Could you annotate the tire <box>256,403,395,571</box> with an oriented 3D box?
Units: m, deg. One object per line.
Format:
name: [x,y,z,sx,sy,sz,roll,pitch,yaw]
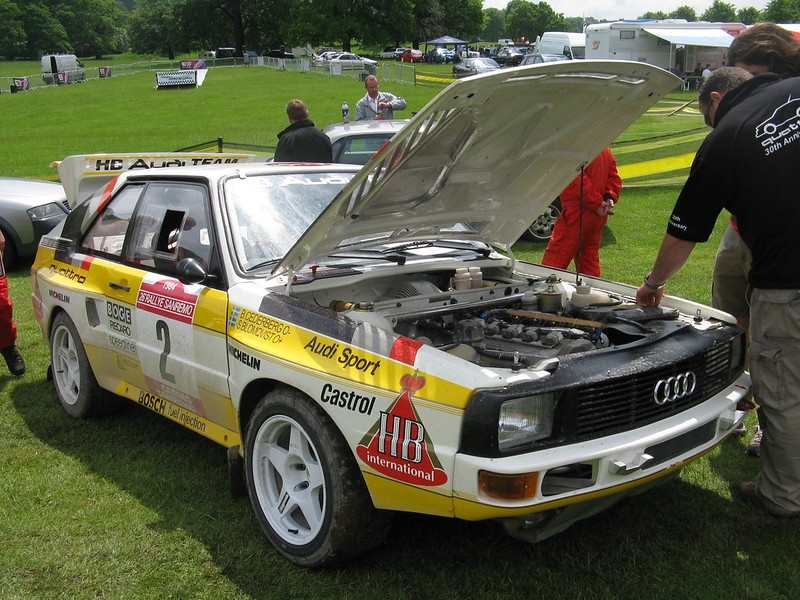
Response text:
tire: [-0.498,0.965,3.479,0.374,0.893,0.905,-18,32,-41]

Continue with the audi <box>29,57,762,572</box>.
audi: [-0.391,-0.210,4.241,4.322,2.068,2.265,17,23,42]

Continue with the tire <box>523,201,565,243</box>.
tire: [2.059,-1.198,9.318,0.728,0.732,0.236,-26,48,-18]

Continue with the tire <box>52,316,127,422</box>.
tire: [-2.580,0.520,5.221,0.306,0.907,0.899,-8,20,-44]

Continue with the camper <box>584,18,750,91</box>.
camper: [13.802,-12.957,33.162,7.645,3.164,9.808,-6,22,-14]
